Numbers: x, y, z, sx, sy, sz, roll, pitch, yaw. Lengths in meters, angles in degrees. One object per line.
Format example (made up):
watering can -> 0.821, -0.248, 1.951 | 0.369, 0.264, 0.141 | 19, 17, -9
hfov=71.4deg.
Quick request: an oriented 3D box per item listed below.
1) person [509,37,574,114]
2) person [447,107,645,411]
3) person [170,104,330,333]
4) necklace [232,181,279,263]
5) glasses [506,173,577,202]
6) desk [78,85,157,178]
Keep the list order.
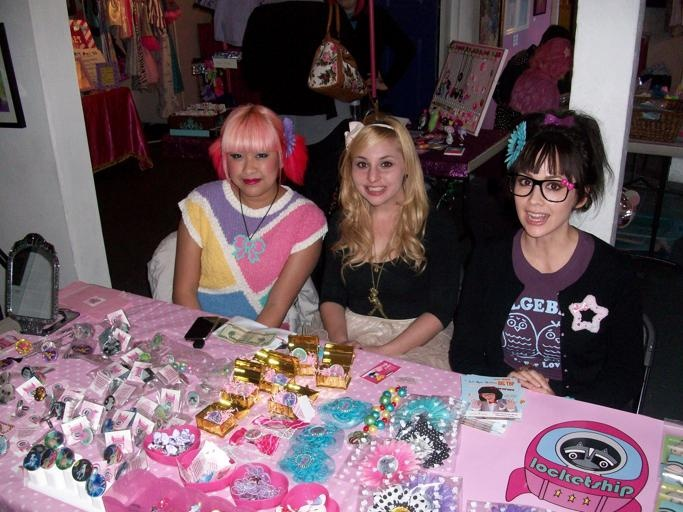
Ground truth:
person -> 2.017, -1.834, 4.792 | 0.454, 0.784, 0.610 | 7, 29, -1
person -> 0.841, 0.064, 2.014 | 0.766, 1.278, 0.791 | 6, 21, 34
person -> -0.477, -0.123, 2.466 | 0.706, 1.244, 0.730 | 8, 24, -3
necklace -> -0.435, -0.158, 2.507 | 0.231, 0.331, 0.177 | -3, 19, -7
glasses -> 0.815, -0.277, 1.931 | 0.242, 0.101, 0.067 | 9, 22, 26
desk -> -3.450, -1.898, 7.220 | 0.355, 1.264, 1.040 | 7, 21, 23
